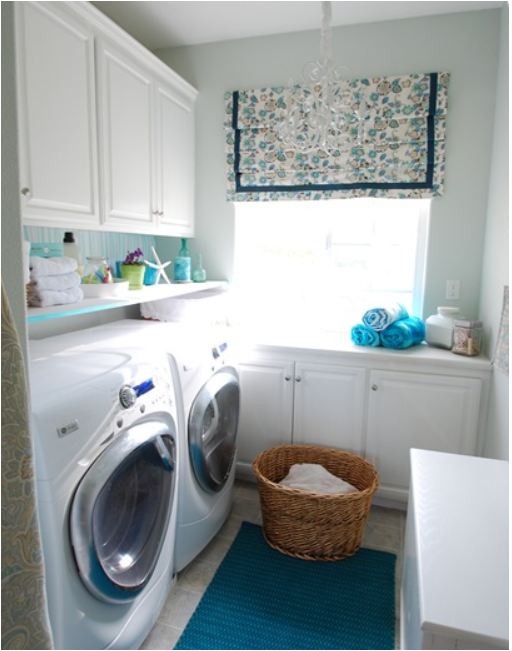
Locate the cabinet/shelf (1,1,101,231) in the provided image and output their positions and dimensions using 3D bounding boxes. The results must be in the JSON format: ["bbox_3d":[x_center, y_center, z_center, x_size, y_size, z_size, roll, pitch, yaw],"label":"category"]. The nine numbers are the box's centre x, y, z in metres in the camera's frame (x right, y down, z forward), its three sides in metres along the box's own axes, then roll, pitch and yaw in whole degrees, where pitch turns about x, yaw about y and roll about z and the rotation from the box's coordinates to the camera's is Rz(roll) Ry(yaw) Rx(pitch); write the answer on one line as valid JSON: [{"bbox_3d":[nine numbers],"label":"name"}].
[{"bbox_3d":[-0.678,-0.720,1.605,0.135,0.749,0.531,0,9,-3],"label":"cabinet/shelf"}]

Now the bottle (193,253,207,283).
[{"bbox_3d":[-0.339,-0.344,2.802,0.088,0.163,0.352,0,9,-7],"label":"bottle"}]

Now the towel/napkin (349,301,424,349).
[{"bbox_3d":[0.668,-0.003,2.432,0.215,0.148,0.304,1,7,30],"label":"towel/napkin"}]

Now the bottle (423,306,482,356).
[{"bbox_3d":[0.975,0.029,2.360,0.226,0.213,0.230,1,3,-21],"label":"bottle"}]

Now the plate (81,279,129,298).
[{"bbox_3d":[-0.561,-0.136,1.785,0.077,0.057,0.236,4,9,17],"label":"plate"}]

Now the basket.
[{"bbox_3d":[0.226,0.782,2.085,0.432,0.274,0.408,8,13,30],"label":"basket"}]

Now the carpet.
[{"bbox_3d":[0.161,1.016,1.776,0.727,0.018,0.684,3,9,12],"label":"carpet"}]
